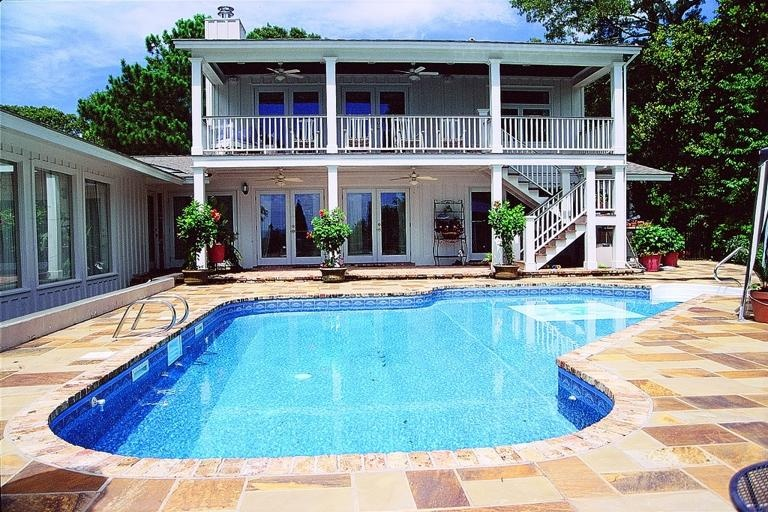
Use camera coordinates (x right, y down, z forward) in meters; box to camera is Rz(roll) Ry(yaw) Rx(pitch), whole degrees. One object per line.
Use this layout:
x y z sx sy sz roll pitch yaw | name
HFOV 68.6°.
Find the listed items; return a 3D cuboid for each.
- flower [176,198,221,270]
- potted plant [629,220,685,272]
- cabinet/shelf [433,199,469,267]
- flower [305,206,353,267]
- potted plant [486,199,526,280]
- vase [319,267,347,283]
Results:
-4.762 -0.548 14.448 0.984 1.785 0.853 -2 4 -10 | flower
8.261 -0.258 16.961 1.547 1.281 0.776 -3 5 -25 | potted plant
2.169 -0.776 18.365 1.108 2.062 0.648 -1 4 2 | cabinet/shelf
-1.362 -0.466 14.726 0.895 1.519 0.892 0 4 13 | flower
3.284 -0.458 14.999 0.944 2.004 1.437 0 4 8 | potted plant
-1.309 0.474 14.536 0.607 0.378 0.426 -2 4 -13 | vase
